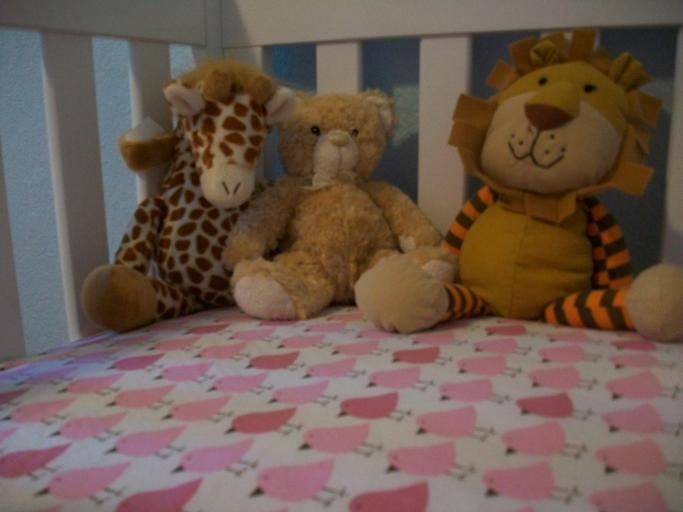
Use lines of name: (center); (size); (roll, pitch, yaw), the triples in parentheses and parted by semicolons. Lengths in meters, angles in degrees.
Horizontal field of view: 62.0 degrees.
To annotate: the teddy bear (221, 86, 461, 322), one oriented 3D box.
teddy bear: (-0.024, -0.147, 1.499); (0.553, 0.583, 0.462); (-3, 9, -13)
